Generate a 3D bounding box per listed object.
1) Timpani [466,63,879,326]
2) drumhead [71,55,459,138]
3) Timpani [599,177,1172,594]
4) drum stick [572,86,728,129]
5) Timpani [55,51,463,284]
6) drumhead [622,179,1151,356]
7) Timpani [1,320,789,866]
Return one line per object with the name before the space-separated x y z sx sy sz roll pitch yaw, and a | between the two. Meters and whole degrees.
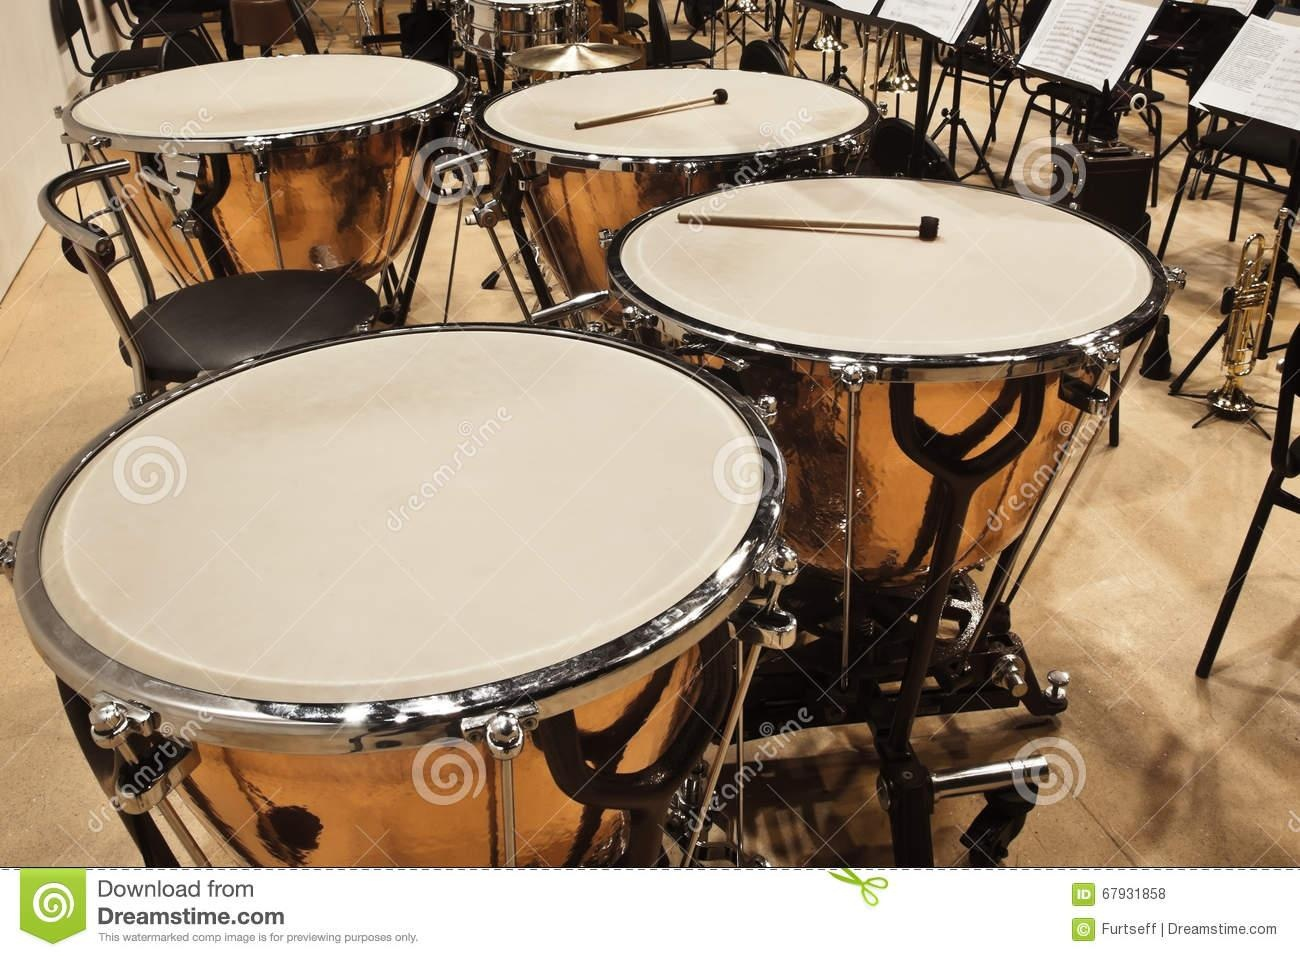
Timpani | 0.072 -0.555 2.459 0.705 0.454 0.693 -27 41 -33
drumhead | -0.851 -0.900 2.589 0.531 0.135 0.528 0 27 1
Timpani | 0.344 -0.163 1.857 0.710 0.498 0.701 -12 34 -16
drum stick | 0.002 -0.827 2.480 0.527 0.077 0.081 -18 9 -34
Timpani | -0.819 -0.650 2.555 0.723 0.518 0.678 -4 36 -6
drumhead | 0.378 -0.317 1.716 0.473 0.021 0.466 -12 31 -17
Timpani | -0.298 0.179 1.425 0.746 0.552 0.727 -7 34 -9
